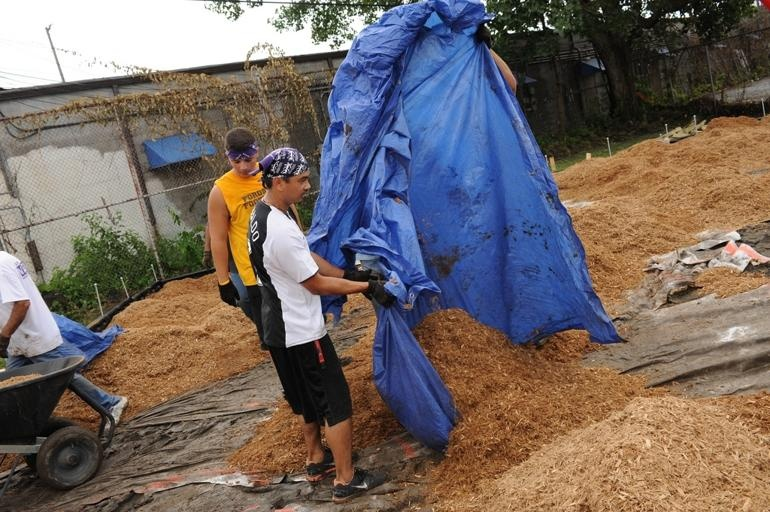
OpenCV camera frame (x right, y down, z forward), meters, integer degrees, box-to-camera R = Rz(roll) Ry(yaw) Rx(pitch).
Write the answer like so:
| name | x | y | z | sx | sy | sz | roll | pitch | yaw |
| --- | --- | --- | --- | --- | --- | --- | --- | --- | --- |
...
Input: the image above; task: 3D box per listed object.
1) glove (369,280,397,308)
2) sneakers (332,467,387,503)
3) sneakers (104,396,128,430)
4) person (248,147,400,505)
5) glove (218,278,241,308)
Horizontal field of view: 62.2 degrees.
| name | x | y | z | sx | sy | sz | roll | pitch | yaw |
| --- | --- | --- | --- | --- | --- | --- | --- | --- | --- |
| glove | -0.049 | 0.366 | 6.019 | 0.277 | 0.210 | 0.119 | 33 | 72 | 25 |
| sneakers | -0.251 | 2.086 | 5.996 | 0.542 | 0.241 | 0.210 | -16 | 5 | -21 |
| sneakers | -3.252 | 1.953 | 7.927 | 0.158 | 0.220 | 0.479 | 0 | 39 | 10 |
| person | -0.657 | 0.628 | 5.872 | 0.923 | 3.206 | 0.624 | -14 | 11 | -10 |
| glove | -1.789 | 0.419 | 7.338 | 0.244 | 0.335 | 0.105 | -32 | 14 | -12 |
